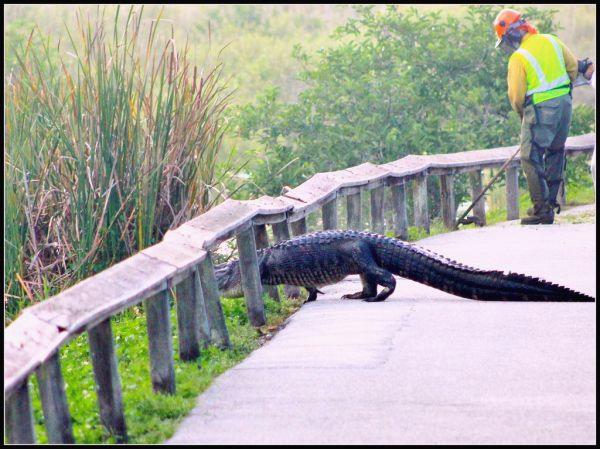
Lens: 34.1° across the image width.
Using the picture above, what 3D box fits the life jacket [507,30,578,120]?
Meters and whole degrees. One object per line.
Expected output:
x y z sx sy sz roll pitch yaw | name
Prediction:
2.844 -1.873 11.599 0.924 0.900 0.433 -24 19 -11 | life jacket

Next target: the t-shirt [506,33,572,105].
2.804 -1.802 11.474 0.594 0.779 0.411 -20 9 -1 | t-shirt
